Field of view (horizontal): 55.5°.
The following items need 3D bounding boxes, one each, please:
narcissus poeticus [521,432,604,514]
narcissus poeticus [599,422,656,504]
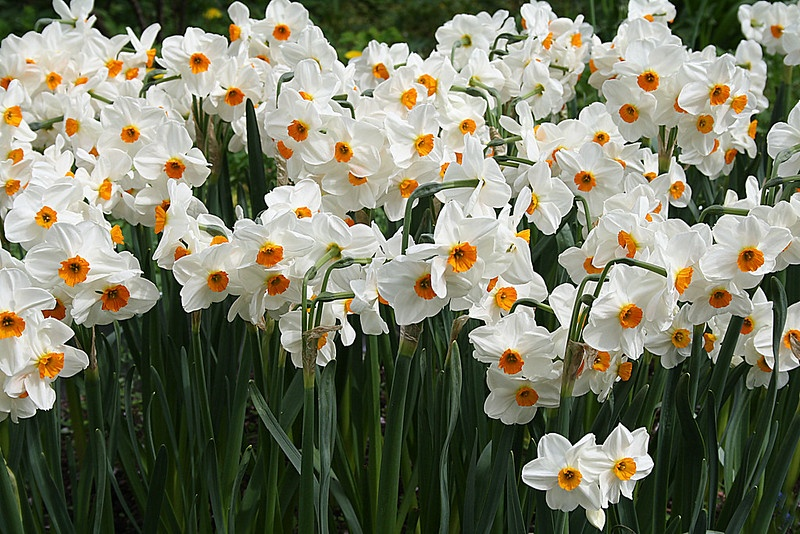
[{"bbox_3d":[0.473,0.587,2.150,0.203,0.243,0.075,17,5,0],"label":"narcissus poeticus"},{"bbox_3d":[0.633,0.554,2.182,0.199,0.219,0.060,-17,31,-37],"label":"narcissus poeticus"}]
